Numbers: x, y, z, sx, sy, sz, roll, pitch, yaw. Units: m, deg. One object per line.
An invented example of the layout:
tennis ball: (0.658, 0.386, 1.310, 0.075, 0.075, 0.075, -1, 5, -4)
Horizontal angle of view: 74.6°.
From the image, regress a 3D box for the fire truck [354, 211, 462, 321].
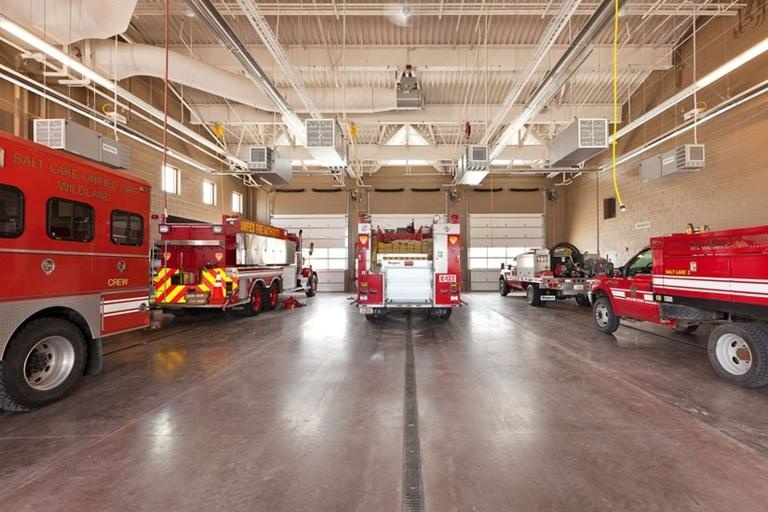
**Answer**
fire truck: (0.670, 0.366, 14.678, 2.829, 3.009, 1.974, 0, 3, 3)

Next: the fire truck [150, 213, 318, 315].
fire truck: (-4.710, 0.349, 15.475, 1.205, 1.389, 3.759, -1, -2, 3)

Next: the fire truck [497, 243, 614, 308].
fire truck: (6.051, 0.698, 19.514, 2.232, 2.226, 5.627, 1, -1, -4)
